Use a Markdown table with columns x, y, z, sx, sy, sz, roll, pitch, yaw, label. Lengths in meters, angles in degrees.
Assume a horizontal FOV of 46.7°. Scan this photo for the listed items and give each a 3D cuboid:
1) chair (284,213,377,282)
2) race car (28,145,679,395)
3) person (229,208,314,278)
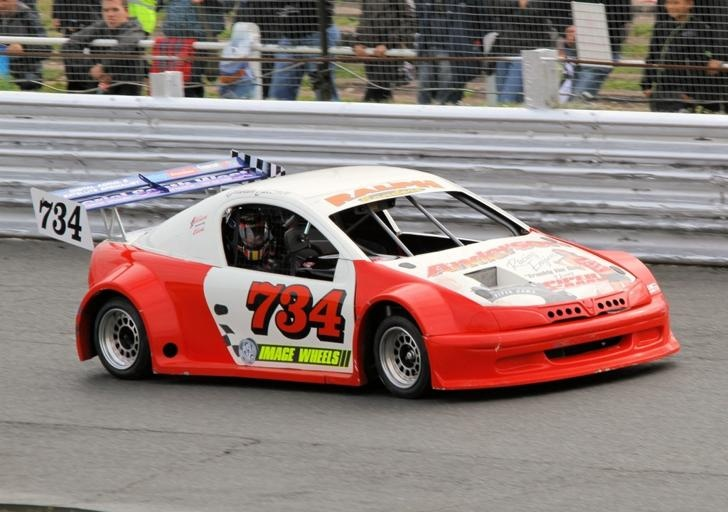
| x | y | z | sx | sy | sz | roll | pitch | yaw | label |
| --- | --- | --- | --- | --- | --- | --- | --- | --- | --- |
| -0.379 | -0.071 | 6.829 | 0.768 | 0.351 | 0.785 | 2 | 2 | 40 | chair |
| 0.038 | 0.235 | 6.575 | 4.180 | 1.700 | 1.604 | 6 | 17 | 27 | race car |
| -0.735 | -0.094 | 6.657 | 0.438 | 0.419 | 0.843 | -18 | 22 | -39 | person |
